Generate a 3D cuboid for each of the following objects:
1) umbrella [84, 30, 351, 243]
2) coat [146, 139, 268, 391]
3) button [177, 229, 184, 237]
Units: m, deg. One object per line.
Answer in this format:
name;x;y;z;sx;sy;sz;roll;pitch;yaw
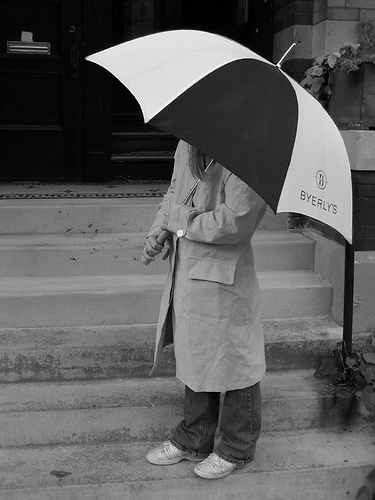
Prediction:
umbrella;0.161;-0.346;2.846;1.124;0.553;1.163;7;-11;31
coat;0.077;0.078;3.018;0.497;0.969;0.402;3;11;15
button;-0.031;-0.068;2.915;0.018;0.026;0.005;2;-2;44
